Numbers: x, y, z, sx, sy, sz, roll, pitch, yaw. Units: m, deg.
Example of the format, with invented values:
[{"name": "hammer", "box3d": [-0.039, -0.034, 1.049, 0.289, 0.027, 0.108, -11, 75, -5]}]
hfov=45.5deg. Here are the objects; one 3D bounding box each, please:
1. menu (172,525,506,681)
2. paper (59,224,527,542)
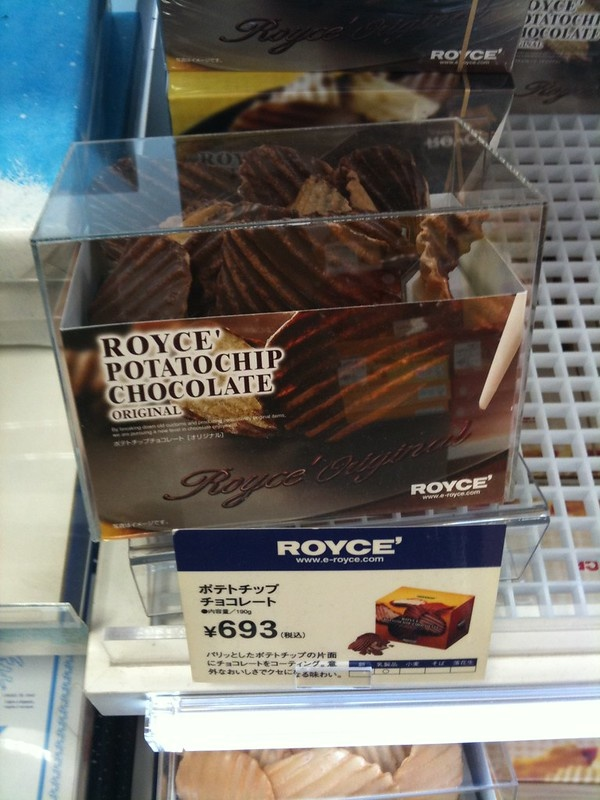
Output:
[{"name": "menu", "box3d": [0.040, 0.203, 0.730, 0.283, 0.171, 0.005, 1, 43, 1]}, {"name": "paper", "box3d": [0.000, -0.005, 0.814, 0.548, 0.251, 0.312, -4, -5, -1]}]
